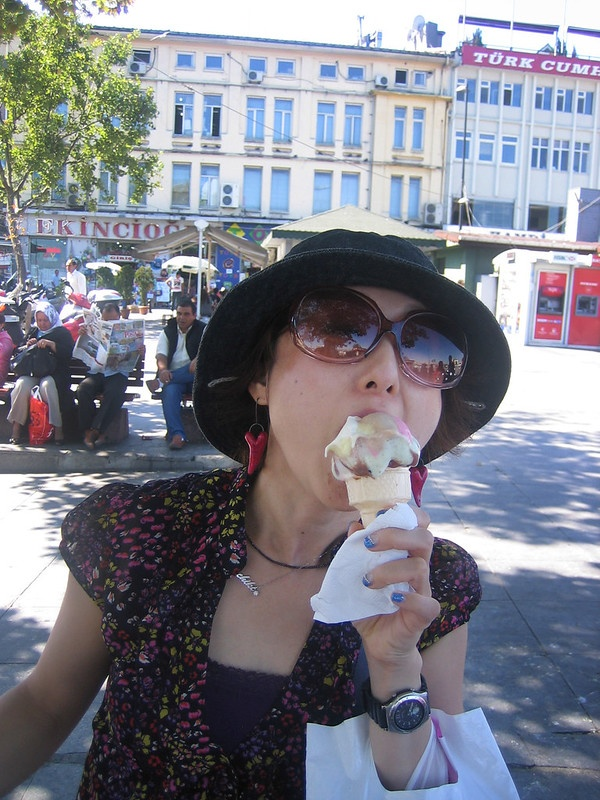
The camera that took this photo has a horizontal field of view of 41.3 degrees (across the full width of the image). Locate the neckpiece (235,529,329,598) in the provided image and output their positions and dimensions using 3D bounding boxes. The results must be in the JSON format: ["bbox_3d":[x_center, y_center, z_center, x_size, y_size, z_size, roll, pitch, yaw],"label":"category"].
[{"bbox_3d":[-0.036,0.331,1.636,0.169,0.092,0.049,-23,-27,-8],"label":"neckpiece"}]

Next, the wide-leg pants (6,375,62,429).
[{"bbox_3d":[-2.703,0.022,8.200,0.538,0.537,0.240,4,-23,-22],"label":"wide-leg pants"}]

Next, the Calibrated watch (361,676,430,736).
[{"bbox_3d":[0.169,0.523,1.390,0.117,0.067,0.099,-2,2,-31],"label":"Calibrated watch"}]

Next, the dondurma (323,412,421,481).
[{"bbox_3d":[0.118,0.073,1.286,0.128,0.067,0.120,13,-36,-16],"label":"dondurma"}]

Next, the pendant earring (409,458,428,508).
[{"bbox_3d":[0.235,0.167,1.604,0.042,0.093,0.024,3,5,-15],"label":"pendant earring"}]

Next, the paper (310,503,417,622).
[{"bbox_3d":[0.116,0.249,1.292,0.145,0.197,0.056,21,18,-2],"label":"paper"}]

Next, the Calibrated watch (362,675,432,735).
[{"bbox_3d":[0.165,0.521,1.363,0.109,0.080,0.079,2,9,0],"label":"Calibrated watch"}]
